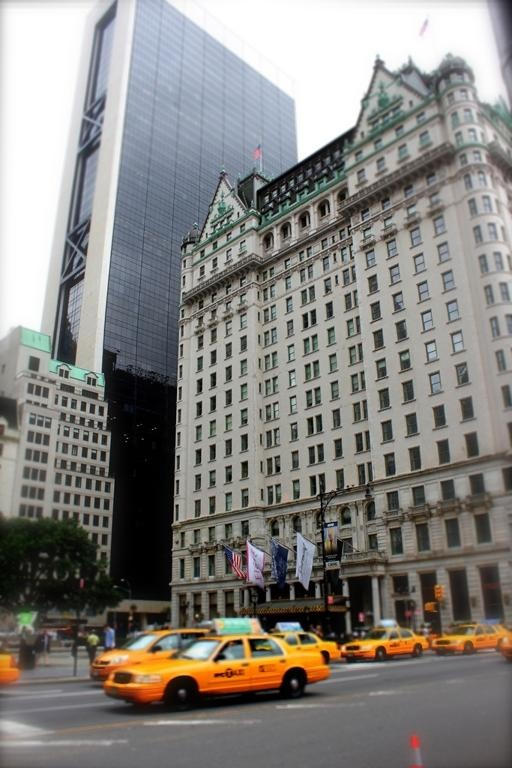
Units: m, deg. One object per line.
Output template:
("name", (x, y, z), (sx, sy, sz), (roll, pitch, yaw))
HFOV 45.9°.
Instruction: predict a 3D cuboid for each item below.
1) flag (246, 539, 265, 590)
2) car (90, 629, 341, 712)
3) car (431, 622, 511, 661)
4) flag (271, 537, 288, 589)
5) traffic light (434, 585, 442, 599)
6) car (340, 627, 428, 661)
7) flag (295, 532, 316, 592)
("flag", (-0.200, 13.635, 45.994), (1.188, 3.394, 2.236), (-2, -17, -3))
("car", (-0.811, 6.910, 14.545), (5.030, 1.597, 1.057), (8, -20, -34))
("car", (10.290, 12.448, 29.521), (3.542, 1.262, 1.390), (6, -20, -30))
("flag", (1.591, 12.942, 43.584), (0.825, 3.119, 1.839), (-1, -17, -9))
("traffic light", (12.019, 13.777, 40.211), (0.323, 1.040, 0.710), (-4, -10, 25))
("car", (5.969, 12.342, 28.645), (3.760, 1.371, 1.523), (6, -20, -30))
("flag", (3.273, 12.230, 42.117), (1.185, 3.730, 2.687), (-4, -17, 3))
